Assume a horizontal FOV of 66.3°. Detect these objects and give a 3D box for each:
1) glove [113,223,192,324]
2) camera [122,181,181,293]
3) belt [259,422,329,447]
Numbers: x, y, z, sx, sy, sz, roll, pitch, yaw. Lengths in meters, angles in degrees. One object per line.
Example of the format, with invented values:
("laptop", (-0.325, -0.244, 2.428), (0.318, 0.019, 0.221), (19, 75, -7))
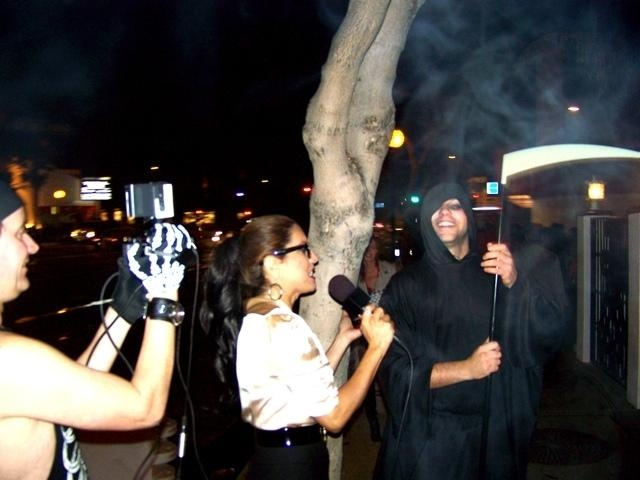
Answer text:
("glove", (-0.965, 0.198, 2.908), (0.335, 0.621, 0.435), (-1, 6, -37))
("camera", (-1.007, 0.009, 2.912), (0.397, 0.635, 0.228), (0, -8, -31))
("belt", (-0.195, 1.274, 3.179), (0.452, 0.149, 0.106), (-3, -2, -8))
